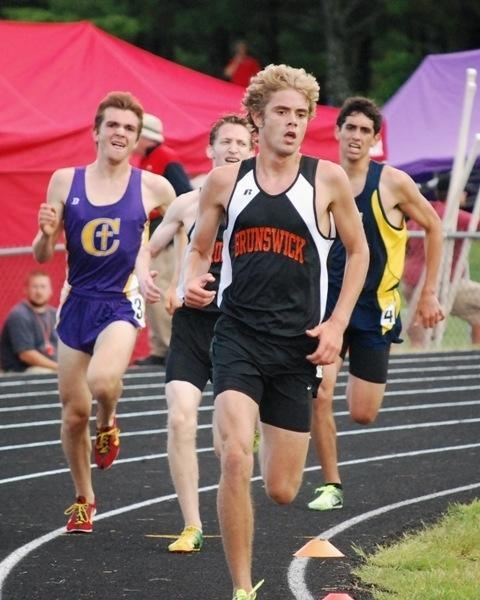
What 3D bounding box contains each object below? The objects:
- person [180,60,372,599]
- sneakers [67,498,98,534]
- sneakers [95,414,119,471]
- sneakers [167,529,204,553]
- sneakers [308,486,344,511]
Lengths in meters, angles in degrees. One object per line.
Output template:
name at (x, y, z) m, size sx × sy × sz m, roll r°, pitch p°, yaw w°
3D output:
person at (0.127, 0.045, 2.670) m, size 0.607 × 1.830 × 0.567 m, roll 1°, pitch -2°, yaw -24°
sneakers at (-0.806, 1.072, 3.780) m, size 0.115 × 0.114 × 0.234 m, roll 0°, pitch 15°, yaw 1°
sneakers at (-0.684, 0.741, 3.766) m, size 0.097 × 0.287 × 0.116 m, roll 0°, pitch 10°, yaw 11°
sneakers at (-0.250, 1.093, 3.374) m, size 0.087 × 0.079 × 0.155 m, roll -4°, pitch -6°, yaw 28°
sneakers at (0.499, 1.142, 4.289) m, size 0.185 × 0.105 × 0.107 m, roll 3°, pitch -7°, yaw -41°
